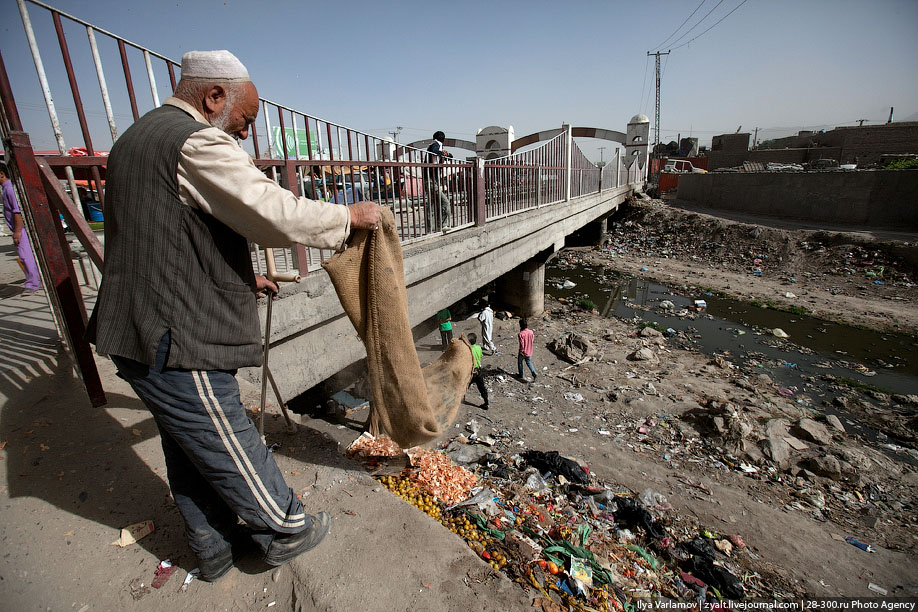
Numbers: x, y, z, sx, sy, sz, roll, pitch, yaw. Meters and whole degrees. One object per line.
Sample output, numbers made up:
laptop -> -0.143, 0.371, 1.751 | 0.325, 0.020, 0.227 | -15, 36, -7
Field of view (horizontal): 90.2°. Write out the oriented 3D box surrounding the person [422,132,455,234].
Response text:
person -> -0.266, -1.808, 6.582 | 0.407, 1.388, 0.540 | -3, 11, -2

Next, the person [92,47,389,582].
person -> -1.510, 0.079, 3.041 | 1.348, 3.266, 0.916 | 2, 19, 8
